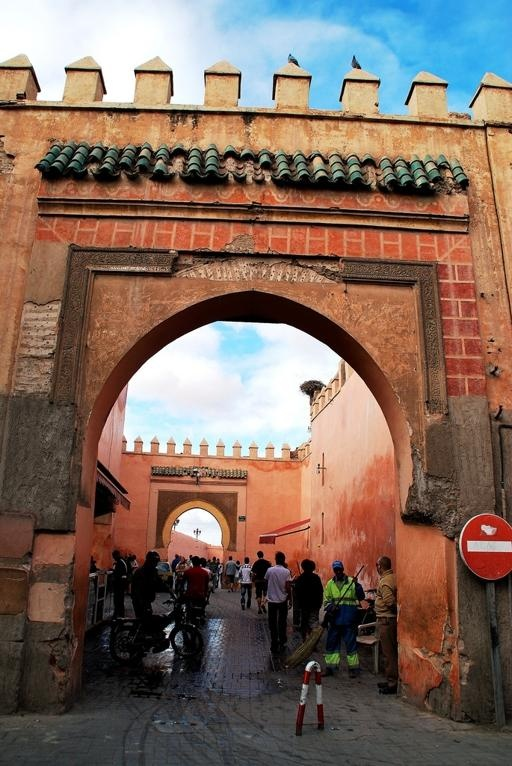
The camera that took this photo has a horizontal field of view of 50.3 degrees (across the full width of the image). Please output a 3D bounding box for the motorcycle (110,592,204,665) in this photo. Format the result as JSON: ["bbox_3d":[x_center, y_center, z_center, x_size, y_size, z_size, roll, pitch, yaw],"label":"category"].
[{"bbox_3d":[-1.273,3.163,6.775,1.337,0.919,0.781,-3,-3,-8],"label":"motorcycle"}]

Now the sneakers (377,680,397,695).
[{"bbox_3d":[1.286,2.931,5.250,0.130,0.046,0.103,-3,-5,-8],"label":"sneakers"}]

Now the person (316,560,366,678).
[{"bbox_3d":[1.043,2.725,6.366,0.442,1.190,1.436,-2,-19,11],"label":"person"}]

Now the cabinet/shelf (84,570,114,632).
[{"bbox_3d":[-2.721,3.897,9.778,0.494,0.901,0.902,10,-30,-18],"label":"cabinet/shelf"}]
